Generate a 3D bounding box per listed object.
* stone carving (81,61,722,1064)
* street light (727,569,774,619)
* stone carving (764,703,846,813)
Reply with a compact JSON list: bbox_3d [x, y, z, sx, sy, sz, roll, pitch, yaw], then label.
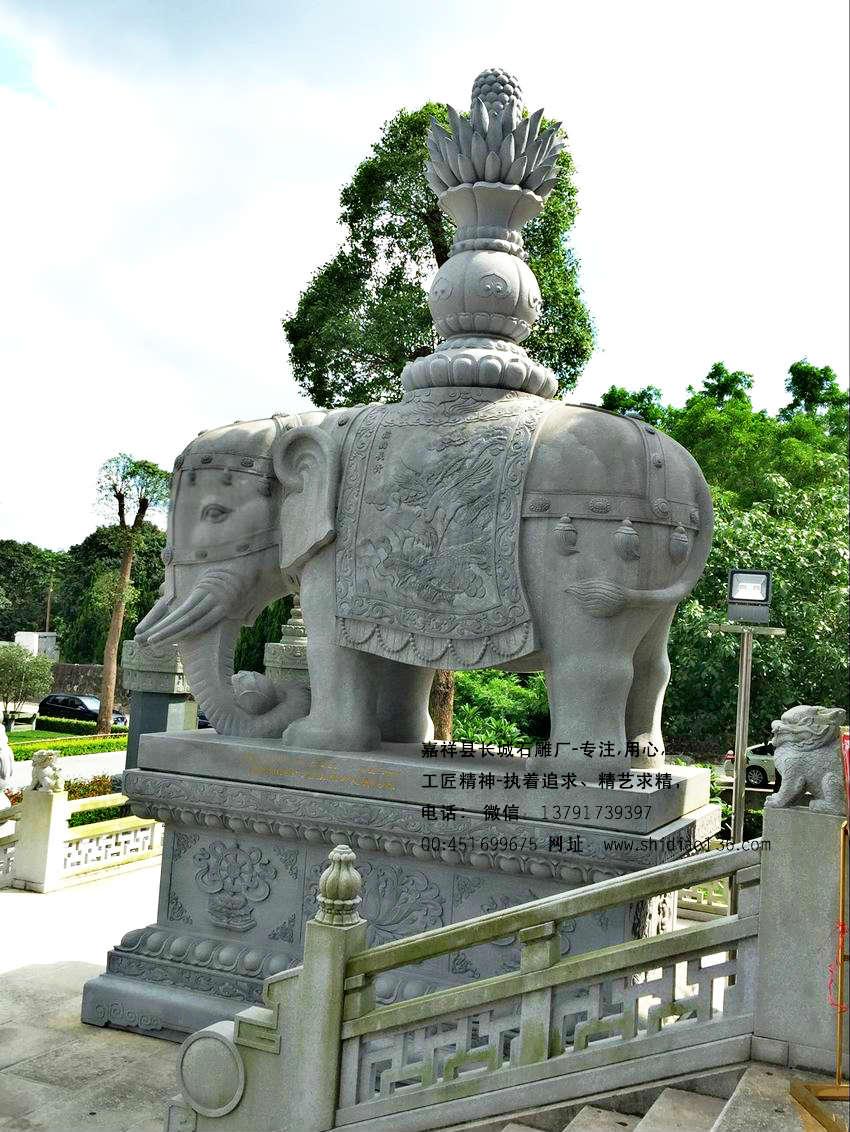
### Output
[{"bbox_3d":[-0.049,-0.077,5.883,2.468,4.353,0.664,0,-7,26],"label":"stone carving"},{"bbox_3d":[1.958,0.189,8.121,0.238,0.334,0.309,1,-6,12],"label":"street light"},{"bbox_3d":[1.188,0.605,4.177,0.225,0.325,0.330,1,-7,15],"label":"stone carving"}]
